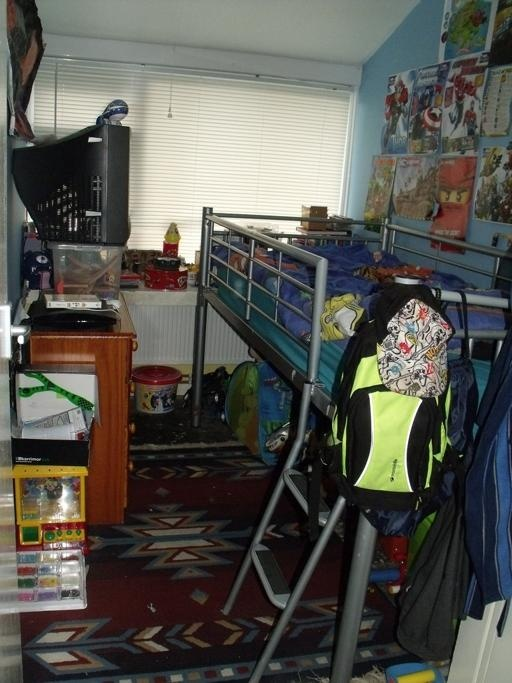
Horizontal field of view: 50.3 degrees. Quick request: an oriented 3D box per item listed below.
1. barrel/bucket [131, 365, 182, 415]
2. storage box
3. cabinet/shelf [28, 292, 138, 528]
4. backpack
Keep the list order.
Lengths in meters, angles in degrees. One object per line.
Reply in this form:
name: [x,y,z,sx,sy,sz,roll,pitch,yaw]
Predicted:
barrel/bucket: [-0.604,0.278,3.418,0.296,0.228,0.299,3,12,-1]
storage box: [-0.672,-0.282,2.134,0.248,0.151,0.252,-2,14,-15]
cabinet/shelf: [-0.621,0.244,1.936,0.349,0.706,0.817,-2,14,-12]
backpack: [0.288,0.125,1.117,0.252,0.482,0.161,7,12,8]
